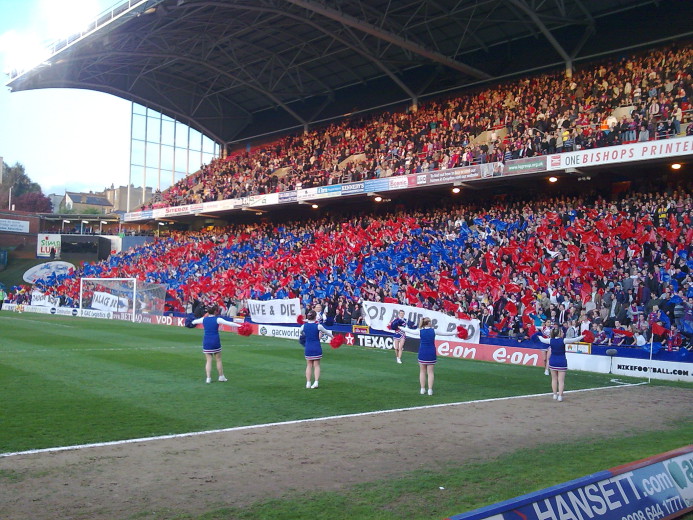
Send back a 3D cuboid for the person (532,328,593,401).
[{"bbox_3d":[5.673,2.704,18.894,0.845,1.943,0.989,2,-4,-7],"label":"person"}]
